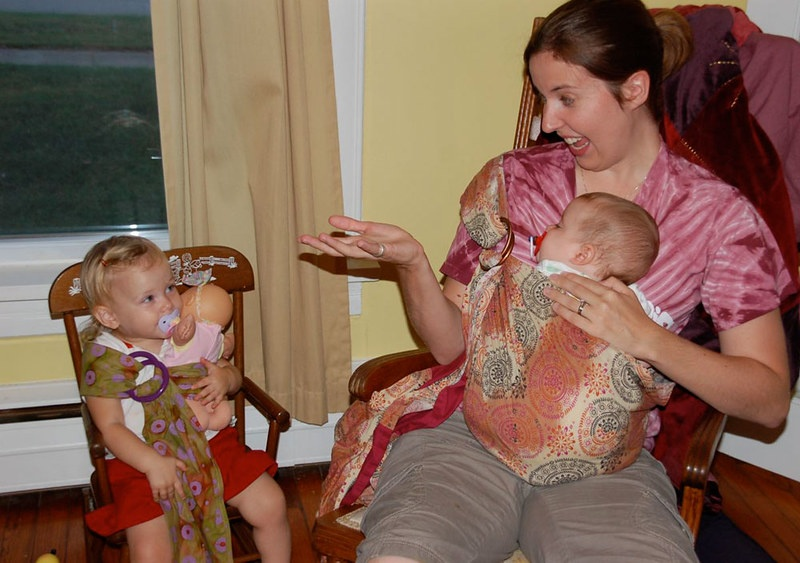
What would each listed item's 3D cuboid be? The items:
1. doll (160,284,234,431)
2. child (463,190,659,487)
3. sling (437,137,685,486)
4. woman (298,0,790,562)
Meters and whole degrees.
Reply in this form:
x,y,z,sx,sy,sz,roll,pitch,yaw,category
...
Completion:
x,y,z,sx,sy,sz,roll,pitch,yaw,category
-0.658,0.240,2.202,0.211,0.466,0.165,9,-23,-27,doll
0.444,0.192,1.852,0.533,0.785,0.312,12,4,8,child
0.410,0.042,1.931,0.750,0.969,0.366,3,-8,17,sling
0.439,-0.045,2.103,1.264,1.701,1.106,-32,40,-32,woman
